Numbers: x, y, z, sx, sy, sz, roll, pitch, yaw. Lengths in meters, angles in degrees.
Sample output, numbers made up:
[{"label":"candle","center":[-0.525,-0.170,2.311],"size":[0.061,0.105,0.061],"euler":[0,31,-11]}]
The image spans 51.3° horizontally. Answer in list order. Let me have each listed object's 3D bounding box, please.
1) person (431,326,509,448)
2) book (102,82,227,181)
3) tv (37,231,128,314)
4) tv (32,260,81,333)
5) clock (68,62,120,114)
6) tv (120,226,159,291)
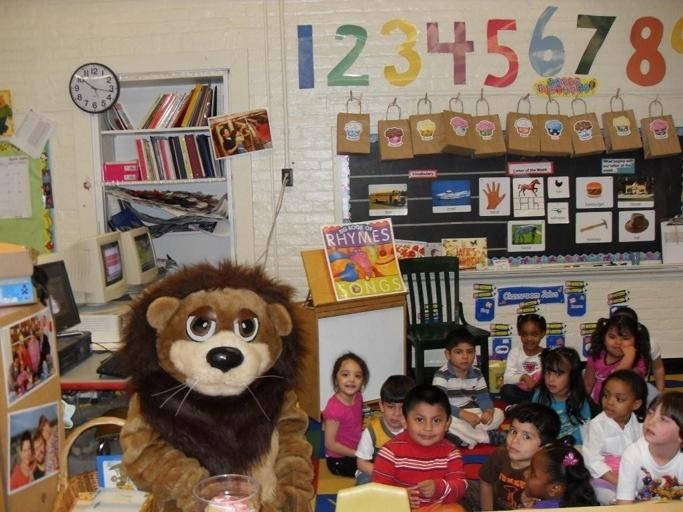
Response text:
[{"label":"person","center":[0.829,0.861,4.688],"size":[0.482,0.747,0.501],"euler":[-1,11,-3]},{"label":"book","center":[-1.431,-0.992,5.805],"size":[0.767,0.756,0.260],"euler":[-2,-1,1]},{"label":"tv","center":[-1.834,0.109,5.067],"size":[0.621,0.486,0.639],"euler":[-7,5,-8]},{"label":"tv","center":[-1.709,0.250,4.464],"size":[0.296,0.425,0.228],"euler":[-14,4,32]},{"label":"clock","center":[-1.990,-1.365,5.704],"size":[0.360,0.383,0.039],"euler":[-4,3,4]},{"label":"tv","center":[-1.622,0.011,5.554],"size":[0.233,0.419,0.438],"euler":[-10,6,6]}]
